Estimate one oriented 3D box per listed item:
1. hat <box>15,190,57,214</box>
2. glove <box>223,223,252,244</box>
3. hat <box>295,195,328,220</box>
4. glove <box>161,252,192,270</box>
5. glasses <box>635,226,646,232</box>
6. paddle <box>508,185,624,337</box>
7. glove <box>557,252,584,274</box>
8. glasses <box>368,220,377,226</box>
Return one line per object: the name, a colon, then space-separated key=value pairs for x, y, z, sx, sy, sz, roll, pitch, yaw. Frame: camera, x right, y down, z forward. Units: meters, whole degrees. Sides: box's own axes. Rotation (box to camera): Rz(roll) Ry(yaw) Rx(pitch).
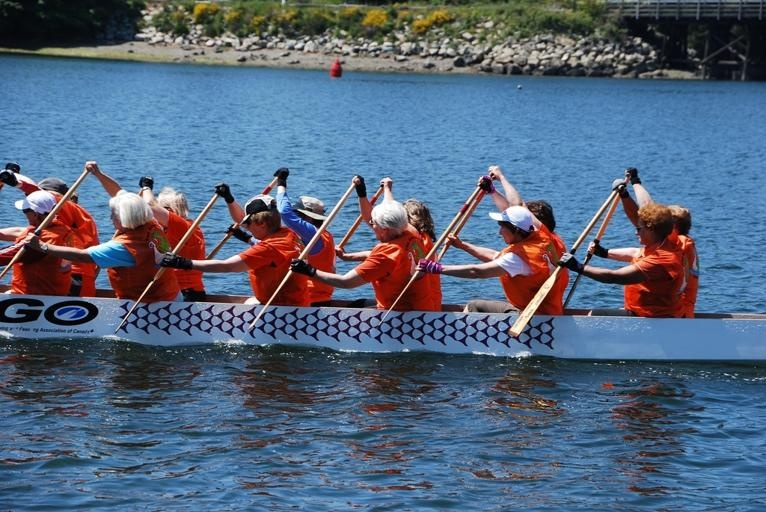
hat: x=-7.348 y=-1.168 z=25.931 sx=0.860 sy=0.299 sz=0.487 roll=4 pitch=13 yaw=5
glove: x=-3.037 y=-0.460 z=26.456 sx=0.635 sy=0.156 sz=0.425 roll=21 pitch=-5 yaw=-20
hat: x=-1.474 y=-1.049 z=26.952 sx=0.599 sy=0.206 sz=0.681 roll=31 pitch=10 yaw=36
glove: x=-4.324 y=0.117 z=25.466 sx=0.755 sy=0.357 sz=0.311 roll=5 pitch=13 yaw=23
glasses: x=5.438 y=-0.568 z=25.504 sx=0.151 sy=0.078 sz=0.137 roll=2 pitch=-1 yaw=-29
paddle: x=4.224 y=0.233 z=27.629 sx=0.341 sy=5.509 sz=0.628 roll=32 pitch=-27 yaw=20
glove: x=3.964 y=0.135 z=25.392 sx=0.582 sy=0.405 sz=0.267 roll=4 pitch=13 yaw=17
glasses: x=-0.210 y=-0.695 z=25.542 sx=0.177 sy=0.113 sz=0.125 roll=18 pitch=1 yaw=9
